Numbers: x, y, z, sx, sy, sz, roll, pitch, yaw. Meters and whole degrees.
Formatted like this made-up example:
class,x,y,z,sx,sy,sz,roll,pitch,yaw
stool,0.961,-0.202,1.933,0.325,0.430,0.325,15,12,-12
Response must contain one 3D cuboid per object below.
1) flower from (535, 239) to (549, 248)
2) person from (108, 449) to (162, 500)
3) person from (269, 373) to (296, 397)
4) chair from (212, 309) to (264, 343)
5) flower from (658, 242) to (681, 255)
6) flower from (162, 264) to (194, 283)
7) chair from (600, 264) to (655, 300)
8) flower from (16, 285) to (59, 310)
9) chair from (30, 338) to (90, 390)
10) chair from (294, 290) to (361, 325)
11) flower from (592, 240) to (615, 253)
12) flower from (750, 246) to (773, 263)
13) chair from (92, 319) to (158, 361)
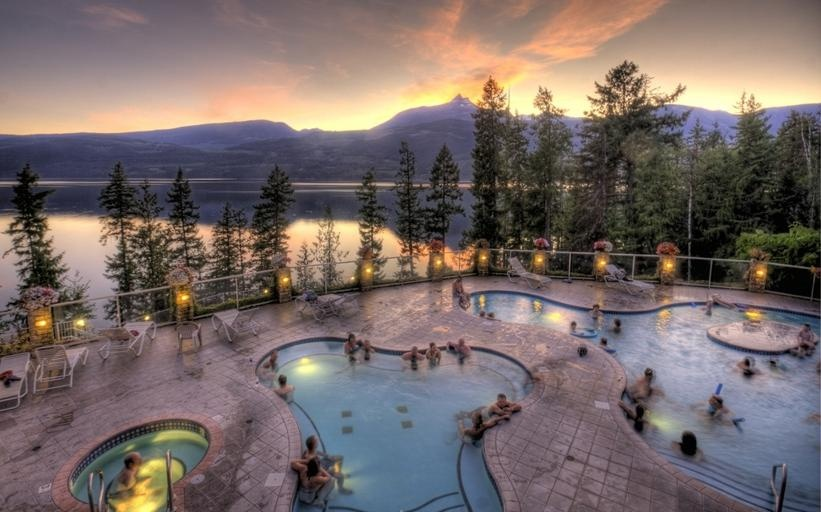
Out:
class,x,y,z,sx,sy,sz,roll,pitch,yaw
flower,7.672,-0.777,26.006,0.666,0.407,0.673,1,6,42
person,-8.949,7.029,14.196,1.402,1.145,1.736,1,0,-31
person,-4.943,4.921,16.795,0.651,0.906,0.473,-4,26,-19
chair,-7.974,2.841,19.809,1.229,1.014,2.104,-6,14,-42
flower,14.327,-0.455,24.382,0.967,0.652,0.939,5,14,42
flower,-10.769,0.846,20.472,0.967,0.747,1.073,-3,8,-24
chair,11.918,1.311,24.028,1.065,1.168,3.180,-9,12,-19
flower,-15.010,1.662,17.744,1.134,0.921,0.705,-2,8,-16
chair,-13.521,4.177,16.783,1.213,1.405,2.577,0,18,-27
chair,-4.503,2.437,21.758,2.661,0.870,1.496,10,11,41
flower,11.152,-0.575,25.491,0.976,0.658,0.662,1,7,13
flower,19.759,-0.126,24.718,0.847,0.542,0.916,-3,14,-13
chair,-12.007,3.414,18.504,1.242,1.072,2.413,1,16,-13
